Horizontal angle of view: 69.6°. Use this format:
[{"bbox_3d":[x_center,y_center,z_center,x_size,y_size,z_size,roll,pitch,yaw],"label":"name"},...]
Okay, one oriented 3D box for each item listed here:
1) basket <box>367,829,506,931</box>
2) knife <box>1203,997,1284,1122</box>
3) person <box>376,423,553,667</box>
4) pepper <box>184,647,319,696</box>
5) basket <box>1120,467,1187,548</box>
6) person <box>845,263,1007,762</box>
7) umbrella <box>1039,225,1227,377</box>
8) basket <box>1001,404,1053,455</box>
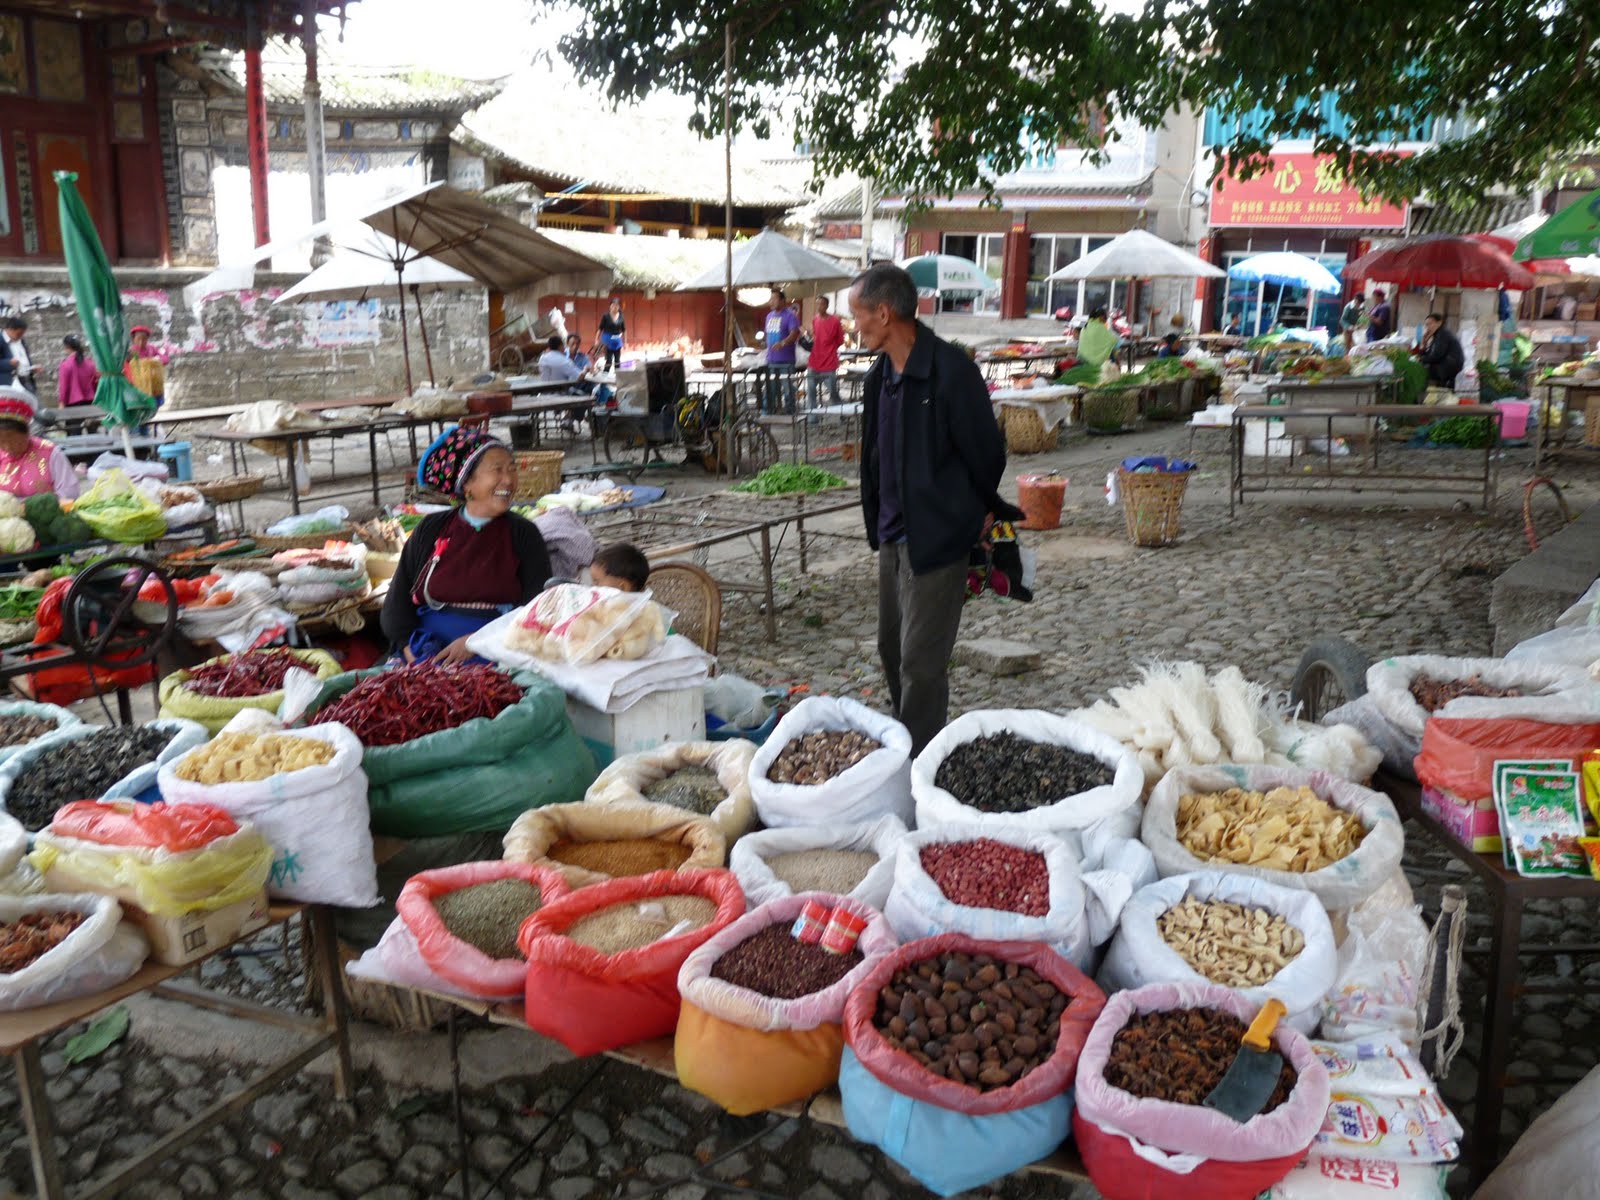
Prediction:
[{"bbox_3d":[-1.194,0.901,3.806,0.336,0.248,0.411,0,7,-3],"label":"basket"},{"bbox_3d":[0.983,1.000,2.526,0.106,0.172,0.255,8,17,38],"label":"knife"},{"bbox_3d":[-1.457,-0.291,5.205,0.675,1.044,0.566,1,12,1],"label":"person"},{"bbox_3d":[-2.108,0.273,4.413,0.278,0.098,0.268,-2,6,-4],"label":"pepper"},{"bbox_3d":[3.063,-0.815,9.930,0.645,0.564,0.623,-1,9,0],"label":"basket"},{"bbox_3d":[0.546,-0.397,4.992,0.972,1.914,0.832,-1,4,-17],"label":"person"},{"bbox_3d":[5.569,-5.066,17.913,3.273,2.817,3.201,0,15,6],"label":"umbrella"},{"bbox_3d":[2.988,-2.246,15.064,0.587,0.706,0.756,-10,9,10],"label":"basket"}]
